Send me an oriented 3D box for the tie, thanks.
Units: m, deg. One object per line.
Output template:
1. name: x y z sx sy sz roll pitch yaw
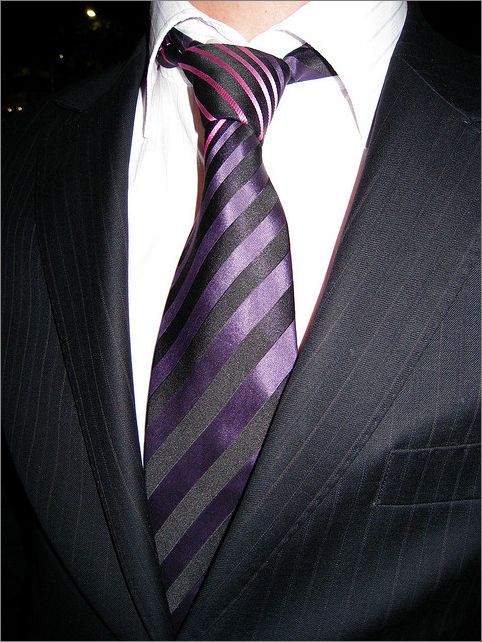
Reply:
1. tie: -0.037 -0.012 0.787 0.154 0.676 0.240 17 -28 -33
